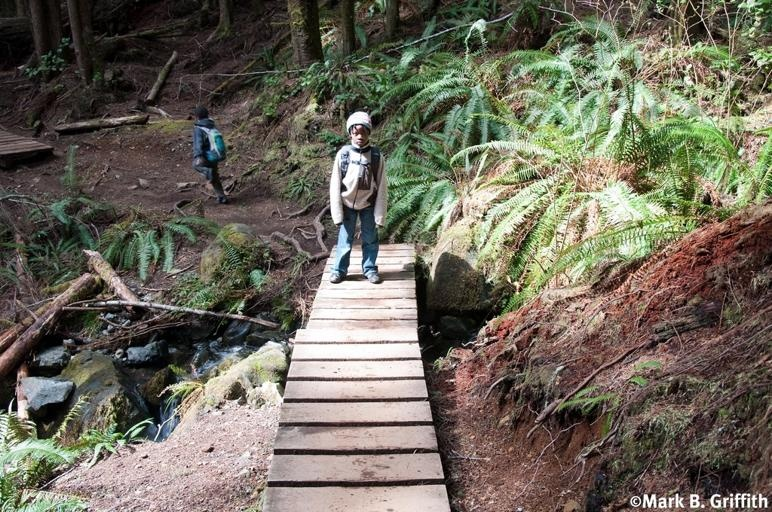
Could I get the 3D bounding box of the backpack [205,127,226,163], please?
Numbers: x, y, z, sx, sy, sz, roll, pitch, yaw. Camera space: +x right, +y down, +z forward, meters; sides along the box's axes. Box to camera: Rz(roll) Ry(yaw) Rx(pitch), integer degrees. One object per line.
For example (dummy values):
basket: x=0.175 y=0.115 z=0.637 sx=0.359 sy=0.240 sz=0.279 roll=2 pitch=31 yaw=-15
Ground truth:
backpack: x=-3.291 y=-2.151 z=12.262 sx=0.379 sy=0.638 sz=0.405 roll=0 pitch=14 yaw=33

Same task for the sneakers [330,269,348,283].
sneakers: x=-0.676 y=0.290 z=8.824 sx=0.106 sy=0.127 sz=0.293 roll=4 pitch=6 yaw=8

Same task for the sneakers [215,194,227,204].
sneakers: x=-3.201 y=-1.130 z=12.413 sx=0.237 sy=0.170 sz=0.112 roll=22 pitch=42 yaw=9

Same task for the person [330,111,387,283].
person: x=-0.407 y=-0.746 z=8.468 sx=0.837 sy=2.307 sz=0.531 roll=-6 pitch=27 yaw=-6

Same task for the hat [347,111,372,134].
hat: x=-0.358 y=-1.726 z=8.179 sx=0.248 sy=0.257 sz=0.202 roll=0 pitch=-2 yaw=-9
